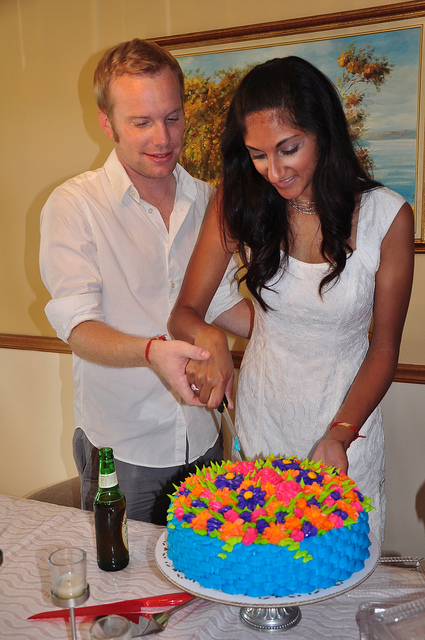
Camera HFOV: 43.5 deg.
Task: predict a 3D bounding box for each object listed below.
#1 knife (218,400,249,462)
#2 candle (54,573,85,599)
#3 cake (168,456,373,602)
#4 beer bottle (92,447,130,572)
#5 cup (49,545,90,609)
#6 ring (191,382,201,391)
[{"bbox_3d":[0.060,0.261,1.185,0.020,0.172,0.056,-26,9,-18],"label":"knife"},{"bbox_3d":[-0.219,0.406,0.816,0.042,0.024,0.037,-1,2,-17],"label":"candle"},{"bbox_3d":[0.120,0.347,0.948,0.392,0.145,0.317,-1,2,-16],"label":"cake"},{"bbox_3d":[-0.195,0.362,1.084,0.097,0.244,0.092,1,12,0],"label":"beer bottle"},{"bbox_3d":[-0.223,0.415,0.833,0.051,0.068,0.050,-2,-5,0],"label":"cup"},{"bbox_3d":[-0.041,0.155,1.232,0.024,0.010,0.017,18,-1,-16],"label":"ring"}]
